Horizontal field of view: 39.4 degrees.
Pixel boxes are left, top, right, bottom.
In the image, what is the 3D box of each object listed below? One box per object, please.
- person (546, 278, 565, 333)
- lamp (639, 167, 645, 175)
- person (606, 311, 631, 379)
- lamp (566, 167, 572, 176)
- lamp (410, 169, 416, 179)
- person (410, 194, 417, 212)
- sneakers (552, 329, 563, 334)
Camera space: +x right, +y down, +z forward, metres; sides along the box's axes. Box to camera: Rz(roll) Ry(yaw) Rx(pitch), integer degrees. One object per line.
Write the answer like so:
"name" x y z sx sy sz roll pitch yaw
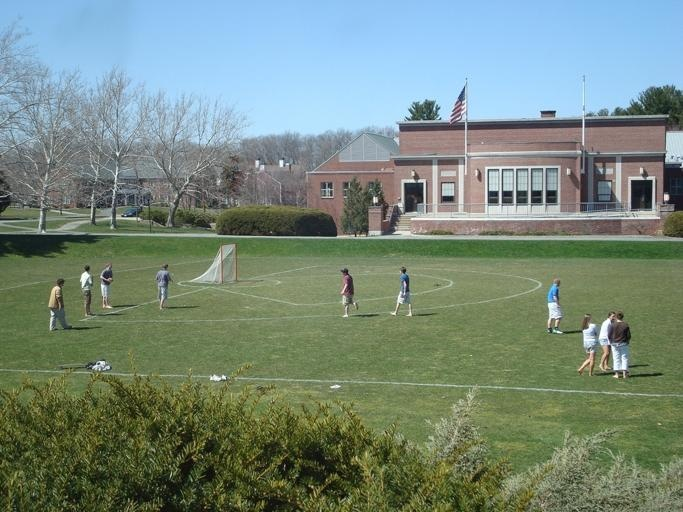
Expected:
"person" 7.355 1.688 32.716 0.488 1.804 1.296 3 6 13
"lamp" 23.588 -6.733 74.715 0.591 0.598 0.308 1 4 14
"person" 8.079 2.706 27.681 0.611 1.583 0.593 3 6 15
"lamp" 17.222 -6.409 72.148 0.455 0.845 0.461 -1 2 12
"lamp" 6.002 -6.815 78.744 0.458 0.776 0.247 2 6 7
"person" 6.128 -4.549 80.604 0.319 1.241 0.235 1 6 -2
"sneakers" 7.426 2.556 32.627 0.419 0.188 0.138 0 6 -24
